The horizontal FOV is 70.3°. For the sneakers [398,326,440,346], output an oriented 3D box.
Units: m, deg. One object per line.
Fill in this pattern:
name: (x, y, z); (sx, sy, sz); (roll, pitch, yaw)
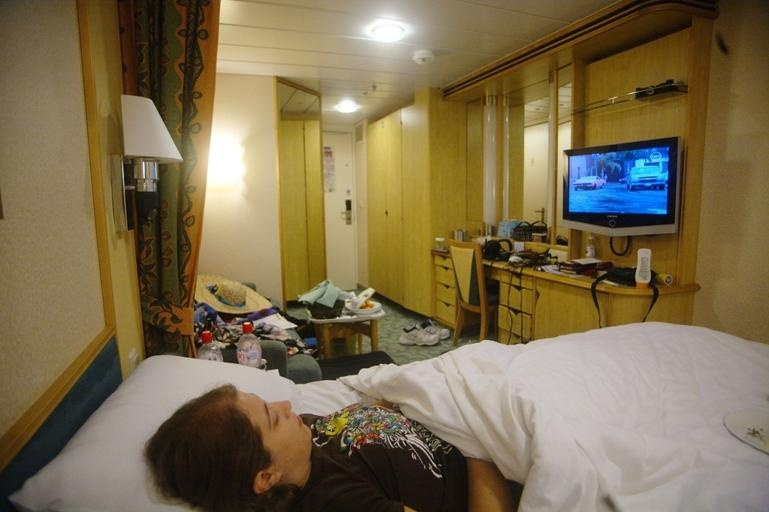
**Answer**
sneakers: (0.307, 0.712, 4.837); (0.319, 0.132, 0.143); (0, 3, 5)

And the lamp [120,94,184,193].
lamp: (-1.025, -0.470, 2.380); (0.263, 0.414, 0.265); (7, 14, 32)

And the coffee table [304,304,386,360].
coffee table: (-0.243, 0.562, 3.965); (0.444, 0.402, 0.478); (-1, 10, 4)

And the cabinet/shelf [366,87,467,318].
cabinet/shelf: (0.366, -0.579, 5.543); (0.715, 2.513, 2.292); (-1, 3, -11)

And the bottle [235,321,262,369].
bottle: (-0.657, 0.451, 2.673); (0.113, 0.257, 0.109); (-2, 15, 0)

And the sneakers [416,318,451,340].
sneakers: (0.437, 0.658, 5.005); (0.307, 0.129, 0.141); (13, 16, 25)

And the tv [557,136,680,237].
tv: (1.577, -0.430, 3.711); (0.056, 0.658, 0.896); (-4, 7, -30)

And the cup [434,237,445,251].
cup: (0.544, -0.120, 5.327); (0.122, 0.141, 0.117); (-2, 10, 0)

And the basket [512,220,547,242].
basket: (1.289, -0.224, 4.760); (0.341, 0.160, 0.267); (4, 10, 31)

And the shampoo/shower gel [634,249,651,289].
shampoo/shower gel: (1.646, 0.068, 3.459); (0.096, 0.241, 0.183); (4, 11, 26)
